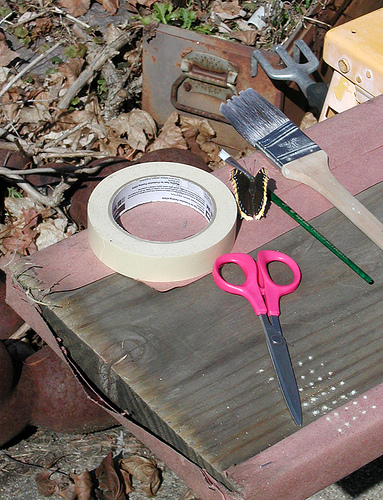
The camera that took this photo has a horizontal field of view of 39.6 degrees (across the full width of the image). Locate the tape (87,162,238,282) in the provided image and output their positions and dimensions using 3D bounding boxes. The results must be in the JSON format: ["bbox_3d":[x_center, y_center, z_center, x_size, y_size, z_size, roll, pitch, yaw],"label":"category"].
[{"bbox_3d":[-0.056,-0.066,1.114,0.299,0.131,0.284,1,39,9],"label":"tape"}]

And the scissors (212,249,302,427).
[{"bbox_3d":[0.146,0.143,0.965,0.175,0.034,0.344,-5,55,-11],"label":"scissors"}]
